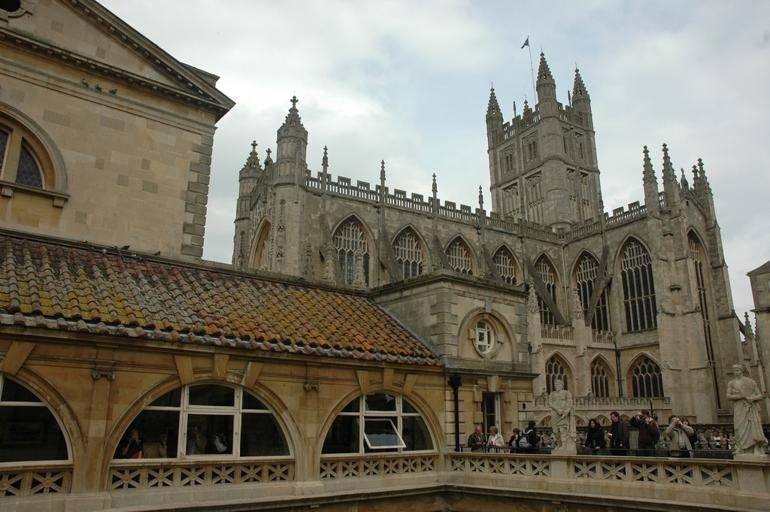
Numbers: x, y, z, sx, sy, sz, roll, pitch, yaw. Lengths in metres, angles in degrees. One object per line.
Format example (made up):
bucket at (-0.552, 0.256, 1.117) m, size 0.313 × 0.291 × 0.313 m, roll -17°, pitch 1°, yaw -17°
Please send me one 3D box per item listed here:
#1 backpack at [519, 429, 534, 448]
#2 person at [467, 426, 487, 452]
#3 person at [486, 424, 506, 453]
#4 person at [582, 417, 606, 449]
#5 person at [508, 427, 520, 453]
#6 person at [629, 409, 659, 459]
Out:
backpack at (5.175, 6.696, 26.736) m, size 0.405 × 0.618 × 0.401 m, roll 8°, pitch -5°, yaw -19°
person at (3.357, 6.668, 26.622) m, size 0.642 × 0.632 × 0.920 m, roll 9°, pitch 8°, yaw 8°
person at (4.058, 6.629, 26.671) m, size 0.648 × 0.783 × 2.039 m, roll 9°, pitch 8°, yaw 10°
person at (7.366, 6.348, 25.926) m, size 0.684 × 0.916 × 0.655 m, roll 3°, pitch 9°, yaw -28°
person at (4.655, 6.766, 26.503) m, size 0.387 × 0.643 × 1.573 m, roll 9°, pitch 8°, yaw 10°
person at (8.887, 5.906, 24.859) m, size 0.654 × 1.164 × 2.547 m, roll 10°, pitch 9°, yaw 15°
